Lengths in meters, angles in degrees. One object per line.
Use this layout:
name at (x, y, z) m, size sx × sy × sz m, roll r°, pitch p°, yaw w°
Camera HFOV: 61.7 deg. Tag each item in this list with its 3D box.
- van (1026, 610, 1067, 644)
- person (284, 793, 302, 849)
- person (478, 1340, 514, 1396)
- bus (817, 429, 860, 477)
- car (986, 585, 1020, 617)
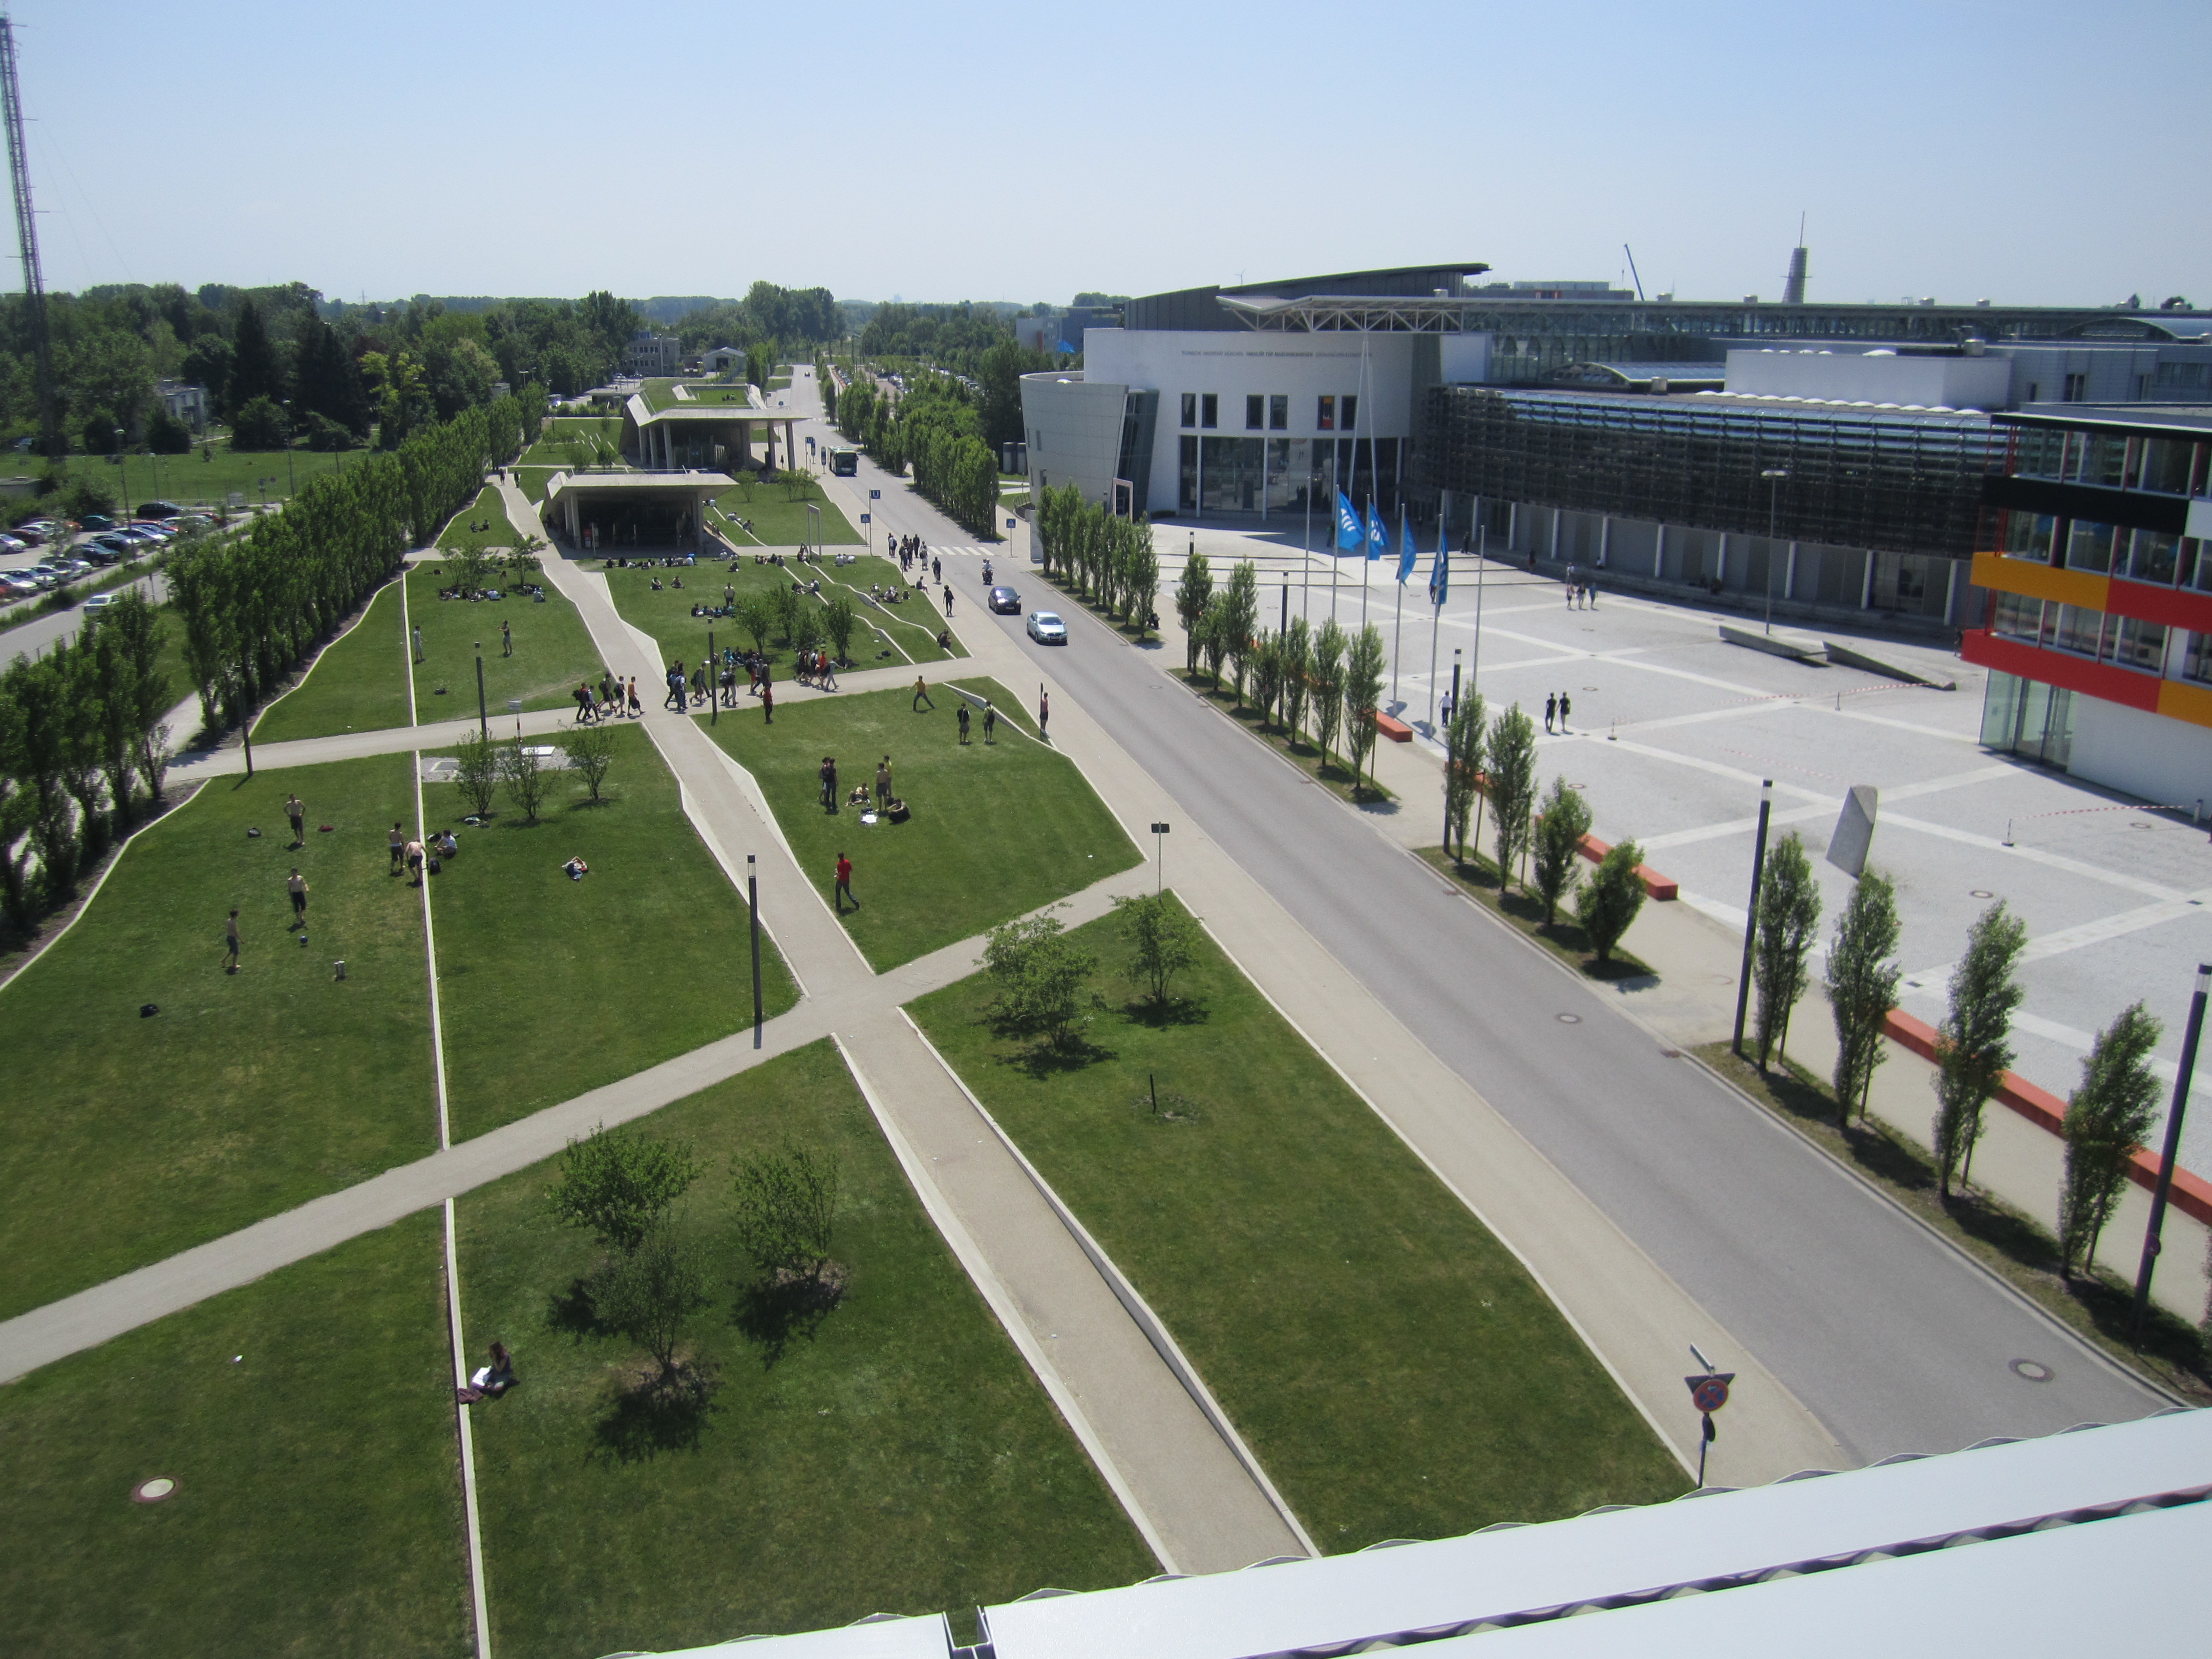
van at (-2.828, -9.560, 87.684) m, size 1.010 × 0.999 × 2.842 m, roll -2°, pitch 15°, yaw -8°
person at (-25.709, -0.205, 58.419) m, size 0.474 × 1.546 × 0.340 m, roll -6°, pitch -25°, yaw 7°
person at (-11.183, 9.945, 34.068) m, size 0.451 × 0.881 × 0.801 m, roll 1°, pitch -1°, yaw -2°
bus at (-25.425, -36.000, 177.545) m, size 3.523 × 3.294 × 46.359 m, roll -1°, pitch 12°, yaw -9°
car at (-5.209, -11.679, 95.411) m, size 1.020 × 0.959 × 2.699 m, roll 0°, pitch 20°, yaw -7°
